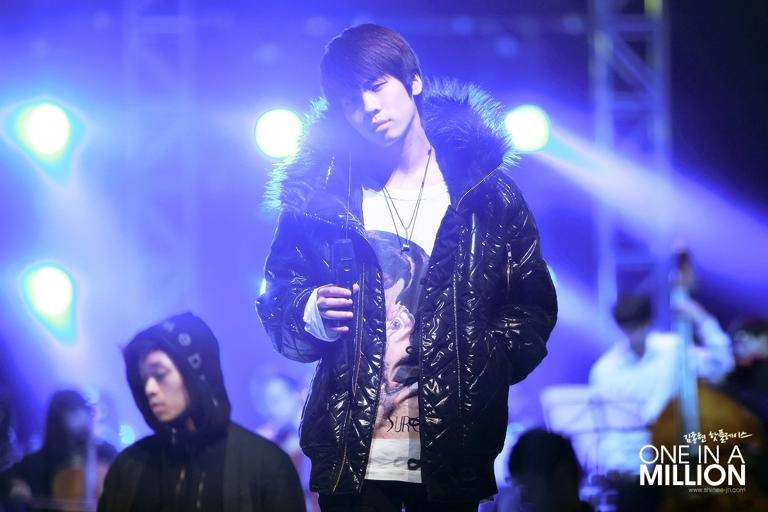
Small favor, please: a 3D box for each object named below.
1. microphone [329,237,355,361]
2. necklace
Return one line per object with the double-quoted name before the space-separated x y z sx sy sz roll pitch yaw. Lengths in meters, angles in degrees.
"microphone" -0.232 0.280 4.729 0.136 0.727 0.211 -3 -16 5
"necklace" 0.164 -0.318 4.917 0.401 0.595 0.135 -9 -8 11
